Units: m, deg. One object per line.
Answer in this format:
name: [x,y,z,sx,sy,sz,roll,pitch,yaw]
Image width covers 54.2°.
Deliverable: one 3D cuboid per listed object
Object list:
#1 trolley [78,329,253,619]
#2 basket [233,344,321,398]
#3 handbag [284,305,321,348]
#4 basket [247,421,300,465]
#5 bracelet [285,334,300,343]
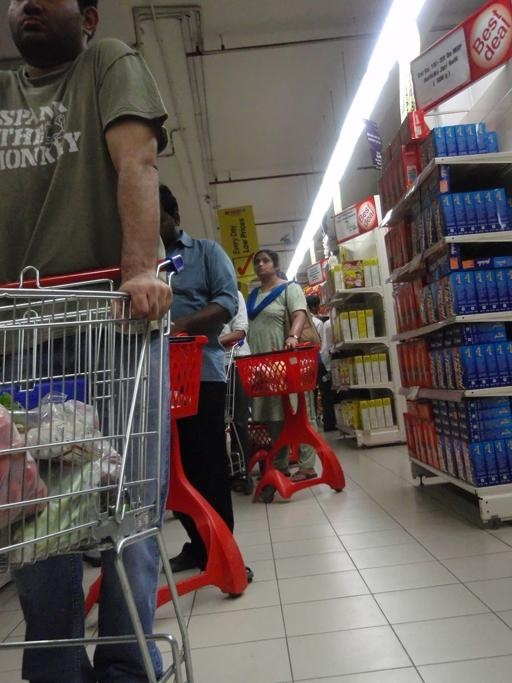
trolley: [-0.397,0.516,1.975,0.564,1.005,0.623,-8,-6,-12]
basket: [0.146,0.192,3.222,0.426,0.248,0.323,-14,-4,20]
handbag: [0.415,-0.123,4.109,0.240,0.511,0.333,-2,4,25]
basket: [0.170,0.972,4.797,0.538,0.298,0.369,2,-15,-9]
bracelet: [0.248,-0.017,3.496,0.055,0.046,0.058,-6,-2,38]
